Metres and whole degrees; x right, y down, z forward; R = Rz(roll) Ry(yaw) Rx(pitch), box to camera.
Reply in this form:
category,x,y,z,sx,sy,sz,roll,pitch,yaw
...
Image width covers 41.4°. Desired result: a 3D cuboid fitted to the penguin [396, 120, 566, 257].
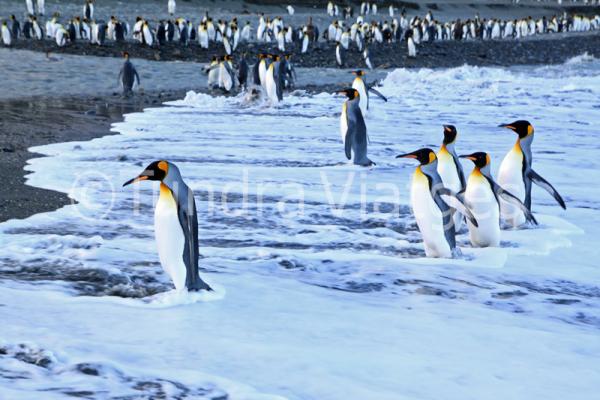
category,x,y,z,sx,sy,sz,roll,pitch,yaw
penguin,2.251,-0.013,10.240,1.785,1.385,0.787,-8,14,-34
